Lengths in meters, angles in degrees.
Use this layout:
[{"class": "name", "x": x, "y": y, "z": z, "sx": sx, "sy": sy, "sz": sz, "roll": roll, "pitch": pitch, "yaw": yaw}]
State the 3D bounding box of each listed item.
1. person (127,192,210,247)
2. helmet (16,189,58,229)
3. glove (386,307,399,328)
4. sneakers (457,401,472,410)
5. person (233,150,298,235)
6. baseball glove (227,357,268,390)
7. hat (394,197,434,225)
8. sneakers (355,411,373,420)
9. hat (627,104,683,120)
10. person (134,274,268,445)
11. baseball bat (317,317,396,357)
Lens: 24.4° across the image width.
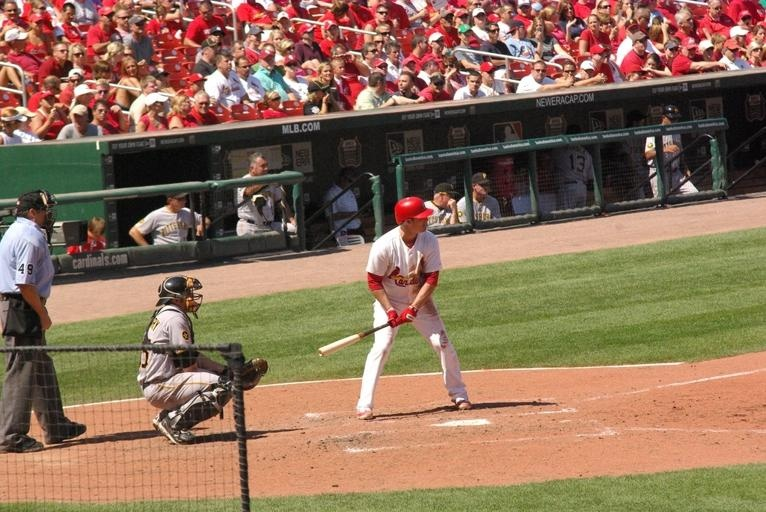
[{"class": "person", "x": -3.655, "y": -0.669, "z": 29.557, "sx": 0.841, "sy": 0.584, "sz": 0.271, "roll": -21, "pitch": 38, "yaw": -34}, {"class": "helmet", "x": -4.696, "y": -0.658, "z": 23.550, "sx": 0.597, "sy": 0.510, "sz": 0.453, "roll": -9, "pitch": 14, "yaw": -28}, {"class": "glove", "x": 0.113, "y": 0.814, "z": 23.540, "sx": 0.177, "sy": 0.220, "sz": 0.093, "roll": -1, "pitch": -21, "yaw": -26}, {"class": "sneakers", "x": 1.112, "y": 2.004, "z": 23.837, "sx": 0.135, "sy": 0.126, "sz": 0.159, "roll": -4, "pitch": 31, "yaw": -9}, {"class": "person", "x": -1.995, "y": -0.822, "z": 30.209, "sx": 1.078, "sy": 1.169, "sz": 0.350, "roll": -5, "pitch": -1, "yaw": -21}, {"class": "baseball glove", "x": -1.765, "y": 1.588, "z": 23.515, "sx": 0.330, "sy": 0.251, "sz": 0.499, "roll": 11, "pitch": -34, "yaw": -23}, {"class": "hat", "x": 0.409, "y": -0.642, "z": 23.468, "sx": 0.456, "sy": 0.214, "sz": 0.328, "roll": -11, "pitch": 13, "yaw": 1}, {"class": "sneakers", "x": -0.243, "y": 2.123, "z": 23.669, "sx": 0.095, "sy": 0.092, "sz": 0.219, "roll": -2, "pitch": -1, "yaw": -39}, {"class": "hat", "x": 5.104, "y": -2.695, "z": 32.901, "sx": 0.696, "sy": 0.241, "sz": 0.415, "roll": 0, "pitch": 11, "yaw": 3}, {"class": "person", "x": -2.504, "y": 1.330, "z": 23.285, "sx": 1.214, "sy": 2.053, "sz": 0.845, "roll": -5, "pitch": -1, "yaw": -38}, {"class": "baseball bat", "x": -0.361, "y": 1.161, "z": 25.142, "sx": 1.634, "sy": 0.170, "sz": 0.182, "roll": -19, "pitch": 39, "yaw": -35}]
